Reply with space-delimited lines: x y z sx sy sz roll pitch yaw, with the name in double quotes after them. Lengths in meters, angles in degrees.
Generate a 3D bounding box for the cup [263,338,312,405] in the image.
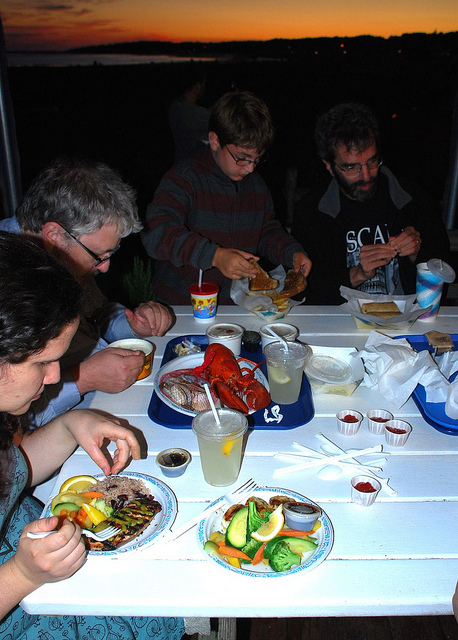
0.175 0.198 1.956 0.260 0.244 0.228 -2 24 0 "cup"

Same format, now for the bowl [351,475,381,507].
0.376 0.472 1.391 0.080 0.064 0.096 4 24 16 "bowl"

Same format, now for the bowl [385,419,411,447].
0.545 0.361 1.633 0.085 0.057 0.081 1 29 -1 "bowl"

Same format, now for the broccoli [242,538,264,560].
0.053 0.538 1.176 0.029 0.016 0.047 41 74 11 "broccoli"

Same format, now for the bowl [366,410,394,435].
0.510 0.338 1.692 0.087 0.047 0.081 0 11 0 "bowl"

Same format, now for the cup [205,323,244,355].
-0.021 0.057 2.230 0.155 0.103 0.143 -2 27 1 "cup"

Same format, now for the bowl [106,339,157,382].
-0.432 0.185 2.100 0.205 0.122 0.201 -8 3 0 "bowl"

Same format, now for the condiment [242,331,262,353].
0.102 0.100 2.323 0.091 0.070 0.092 2 13 2 "condiment"

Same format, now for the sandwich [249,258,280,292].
0.197 -0.236 2.849 0.154 0.128 0.143 2 24 11 "sandwich"

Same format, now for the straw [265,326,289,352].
0.191 0.078 2.027 0.016 0.019 0.129 -7 43 -39 "straw"

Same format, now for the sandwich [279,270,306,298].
0.355 -0.208 2.801 0.144 0.041 0.169 5 66 35 "sandwich"

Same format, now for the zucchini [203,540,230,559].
-0.030 0.536 1.179 0.059 0.016 0.024 14 25 27 "zucchini"

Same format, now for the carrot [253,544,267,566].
0.069 0.545 1.162 0.018 0.018 0.055 23 72 7 "carrot"

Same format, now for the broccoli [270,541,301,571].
0.125 0.542 1.147 0.064 0.041 0.053 -10 25 -18 "broccoli"

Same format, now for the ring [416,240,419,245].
1.118 -0.467 2.972 0.016 0.022 0.024 0 9 1 "ring"

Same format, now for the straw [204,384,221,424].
-0.059 0.275 1.638 0.016 0.139 0.017 -14 17 34 "straw"

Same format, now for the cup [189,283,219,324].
-0.142 -0.111 2.702 0.215 0.209 0.197 0 29 0 "cup"

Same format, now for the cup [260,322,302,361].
0.215 0.071 2.115 0.168 0.118 0.160 0 23 0 "cup"

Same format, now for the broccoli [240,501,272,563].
0.066 0.509 1.200 0.055 0.116 0.034 -5 -7 24 "broccoli"

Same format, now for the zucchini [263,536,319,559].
0.145 0.531 1.183 0.132 0.033 0.050 8 16 -19 "zucchini"

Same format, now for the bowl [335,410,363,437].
0.406 0.339 1.680 0.084 0.046 0.079 1 14 0 "bowl"

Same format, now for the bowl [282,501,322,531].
0.184 0.478 1.261 0.092 0.060 0.101 -2 23 1 "bowl"

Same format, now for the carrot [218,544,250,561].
0.009 0.543 1.168 0.090 0.023 0.024 17 68 11 "carrot"

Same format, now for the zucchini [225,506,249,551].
0.020 0.508 1.213 0.068 0.028 0.092 0 46 -1 "zucchini"

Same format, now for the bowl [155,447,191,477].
-0.169 0.420 1.497 0.083 0.034 0.077 0 31 0 "bowl"

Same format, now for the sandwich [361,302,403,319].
0.775 -0.054 2.541 0.133 0.036 0.103 2 25 0 "sandwich"
